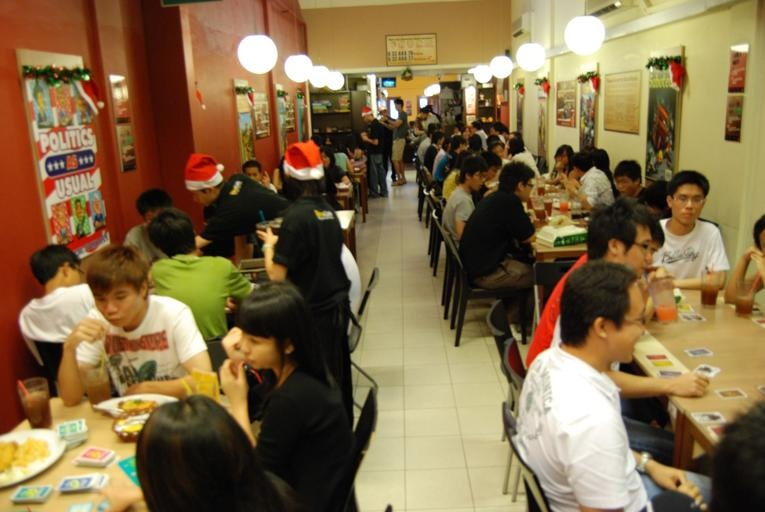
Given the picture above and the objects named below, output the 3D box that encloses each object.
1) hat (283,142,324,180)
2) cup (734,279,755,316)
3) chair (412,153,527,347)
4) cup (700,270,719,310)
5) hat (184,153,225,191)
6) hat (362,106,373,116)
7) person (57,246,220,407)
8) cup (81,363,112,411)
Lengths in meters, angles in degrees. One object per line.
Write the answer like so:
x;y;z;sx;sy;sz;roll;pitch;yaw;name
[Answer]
-0.529;-0.631;3.811;0.205;0.148;0.297;-4;27;-12;hat
2.147;0.263;3.396;0.119;0.199;0.124;1;-2;0;cup
0.911;-0.034;5.896;0.715;1.172;2.109;-2;20;2;chair
2.006;0.206;3.528;0.137;0.224;0.137;2;2;0;cup
-1.552;-0.748;4.979;0.359;0.282;0.266;-6;31;-8;hat
-0.348;-3.152;12.529;0.243;0.198;0.249;-20;8;7;hat
-1.277;0.395;3.054;0.620;0.984;0.521;-11;16;4;person
-1.459;0.670;2.932;0.120;0.203;0.123;-6;5;1;cup
